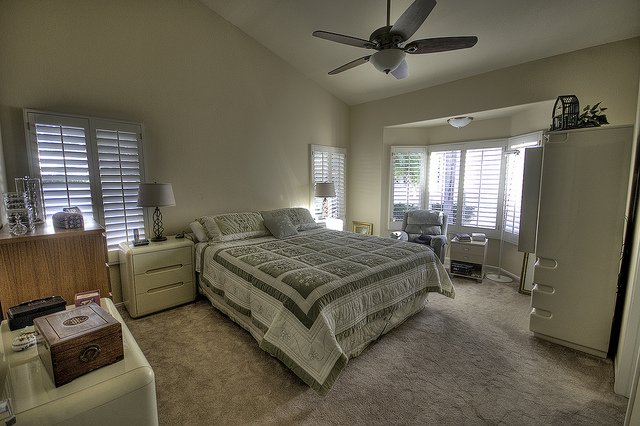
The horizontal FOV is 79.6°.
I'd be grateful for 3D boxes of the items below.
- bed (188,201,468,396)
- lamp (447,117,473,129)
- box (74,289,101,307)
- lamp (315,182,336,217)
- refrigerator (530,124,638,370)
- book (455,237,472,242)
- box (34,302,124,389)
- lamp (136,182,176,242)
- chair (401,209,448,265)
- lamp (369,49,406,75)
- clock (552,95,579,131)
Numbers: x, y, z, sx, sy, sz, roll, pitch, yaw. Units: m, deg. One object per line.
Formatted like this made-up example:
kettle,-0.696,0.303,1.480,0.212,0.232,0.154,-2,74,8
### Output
bed,-0.153,0.713,5.175,3.086,1.051,2.882,10,15,36
lamp,2.195,-1.441,6.023,0.315,0.128,0.195,2,7,38
box,-2.003,0.729,3.320,0.193,0.123,0.179,-1,2,-9
lamp,0.075,-0.229,6.795,0.332,0.616,0.414,-4,6,-14
refrigerator,2.844,0.352,4.205,0.865,2.534,0.367,2,8,34
book,2.258,0.407,6.010,0.232,0.059,0.131,-1,5,16
box,-1.974,1.046,3.061,0.709,0.346,0.705,4,7,1
lamp,-2.136,-0.013,4.977,0.401,0.764,0.419,-8,8,-39
chair,1.693,0.412,6.379,0.871,0.944,0.808,7,9,39
lamp,0.725,-1.660,4.224,0.412,0.250,0.389,-10,18,9
clock,2.695,-1.112,4.240,0.220,0.396,0.265,-7,8,-35
